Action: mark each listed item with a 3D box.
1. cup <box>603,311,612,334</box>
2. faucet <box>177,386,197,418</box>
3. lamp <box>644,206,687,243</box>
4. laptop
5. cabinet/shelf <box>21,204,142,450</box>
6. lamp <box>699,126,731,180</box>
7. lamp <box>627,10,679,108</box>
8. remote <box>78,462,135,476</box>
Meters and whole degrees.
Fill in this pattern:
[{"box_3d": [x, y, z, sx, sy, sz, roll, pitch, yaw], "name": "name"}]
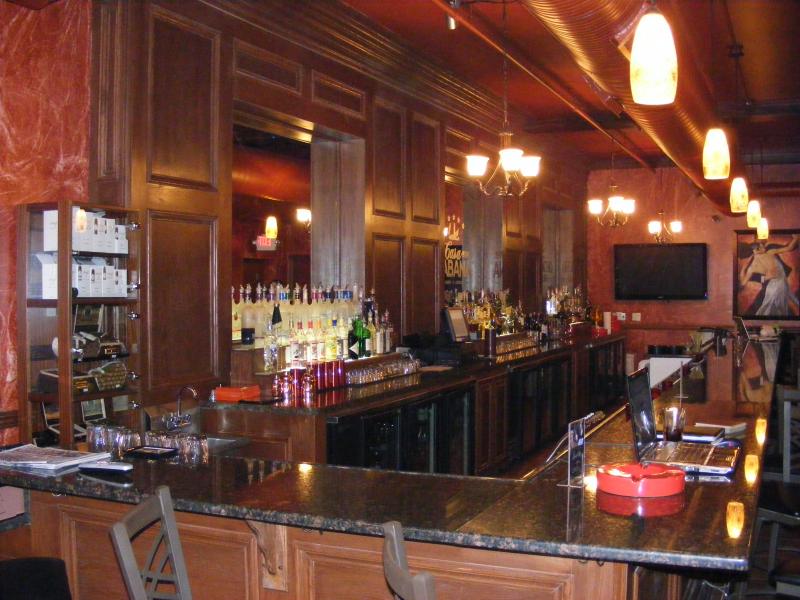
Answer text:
[{"box_3d": [3.275, 0.369, 11.609, 0.153, 0.524, 0.285, 0, 3, 9], "name": "cup"}, {"box_3d": [-1.406, 0.660, 4.888, 0.091, 0.165, 0.279, -1, -2, 9], "name": "faucet"}, {"box_3d": [4.354, -1.217, 12.029, 0.560, 0.538, 0.589, 0, 4, 13], "name": "lamp"}, {"box_3d": [1.390, 0.499, 3.655, 0.437, 0.428, 0.630, -1, -1, 20], "name": "laptop"}, {"box_3d": [-1.858, 0.133, 4.315, 0.656, 1.377, 0.381, 1, -2, -30], "name": "cabinet/shelf"}, {"box_3d": [2.169, -1.014, 5.041, 0.158, 0.402, 0.318, -1, -2, 22], "name": "lamp"}, {"box_3d": [1.112, -1.092, 3.236, 0.211, 0.460, 0.190, 1, -2, -39], "name": "lamp"}, {"box_3d": [-1.330, 0.773, 3.381, 0.179, 0.047, 0.102, -2, -7, 12], "name": "remote"}]
